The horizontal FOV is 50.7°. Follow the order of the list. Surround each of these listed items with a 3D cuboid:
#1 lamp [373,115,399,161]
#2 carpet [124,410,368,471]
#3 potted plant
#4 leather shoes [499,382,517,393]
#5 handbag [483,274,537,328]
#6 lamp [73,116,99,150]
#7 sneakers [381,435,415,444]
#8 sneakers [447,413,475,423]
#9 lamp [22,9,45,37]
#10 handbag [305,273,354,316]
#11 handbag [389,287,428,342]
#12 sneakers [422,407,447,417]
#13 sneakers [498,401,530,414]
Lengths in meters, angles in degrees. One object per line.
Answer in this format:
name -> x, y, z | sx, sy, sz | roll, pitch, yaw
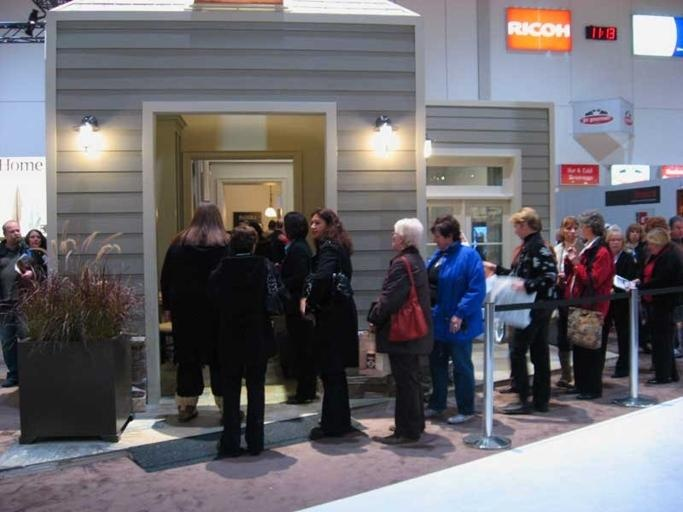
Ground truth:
lamp -> 0.467, -1.274, 7.701 | 0.266, 0.429, 0.145 | -1, 13, -5
carpet -> -1.064, 1.668, 6.444 | 1.639, 0.043, 0.545 | -6, 14, -24
potted plant -> -2.429, 0.890, 7.005 | 1.467, 2.105, 1.430 | 0, -3, -4
leather shoes -> 1.621, 1.293, 7.032 | 0.185, 0.129, 0.073 | 4, -13, -4
handbag -> 1.613, 0.448, 6.852 | 0.492, 0.474, 0.204 | -1, -18, 5
lamp -> -2.630, -1.248, 7.378 | 0.235, 0.356, 0.156 | -3, 13, -13
sneakers -> 0.506, 1.615, 6.461 | 0.304, 0.108, 0.107 | 3, -7, 6
sneakers -> 1.150, 1.570, 6.972 | 0.266, 0.102, 0.097 | 3, -3, -19
lamp -> -6.295, -4.748, 14.657 | 0.371, 0.566, 0.618 | -5, 14, -22
handbag -> -0.091, 0.354, 6.604 | 0.437, 0.409, 0.320 | 11, -10, -23
handbag -> 0.562, 0.519, 6.292 | 0.451, 0.629, 0.290 | 1, -9, -1
sneakers -> 0.903, 1.553, 7.141 | 0.261, 0.108, 0.086 | 6, -3, -15
sneakers -> 1.676, 1.473, 6.996 | 0.352, 0.144, 0.117 | 11, -9, -22
